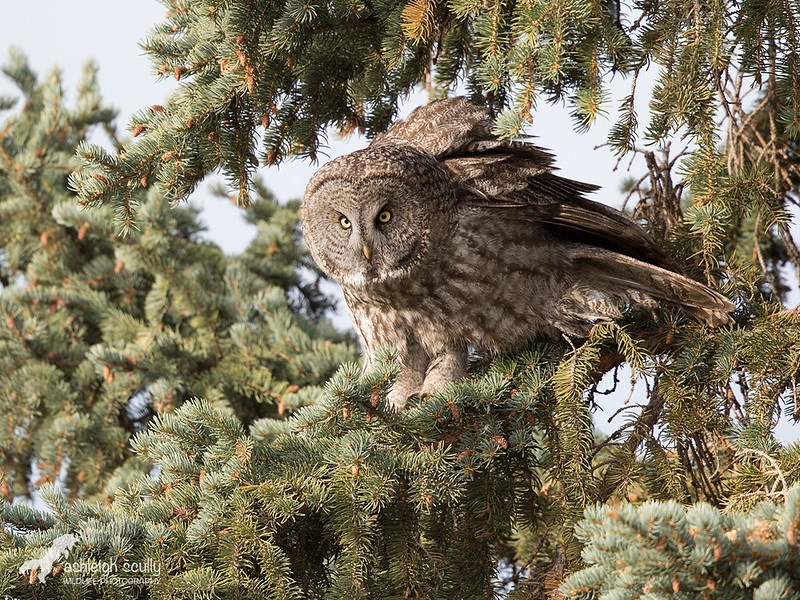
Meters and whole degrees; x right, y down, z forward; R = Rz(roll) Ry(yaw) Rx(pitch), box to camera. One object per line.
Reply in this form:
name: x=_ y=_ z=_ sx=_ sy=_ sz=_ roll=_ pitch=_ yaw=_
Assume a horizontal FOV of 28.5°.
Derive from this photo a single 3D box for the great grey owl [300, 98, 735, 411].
great grey owl: x=0.489 y=-0.278 z=9.309 sx=2.833 sy=1.734 sz=1.495 roll=-7 pitch=-7 yaw=-40
